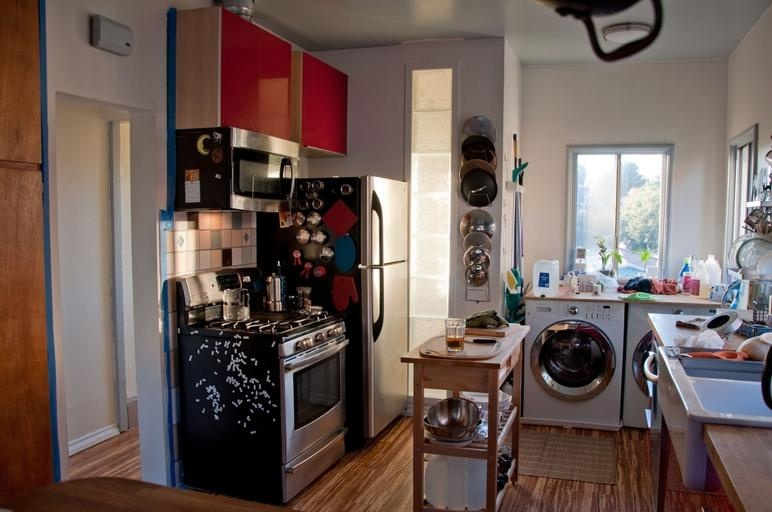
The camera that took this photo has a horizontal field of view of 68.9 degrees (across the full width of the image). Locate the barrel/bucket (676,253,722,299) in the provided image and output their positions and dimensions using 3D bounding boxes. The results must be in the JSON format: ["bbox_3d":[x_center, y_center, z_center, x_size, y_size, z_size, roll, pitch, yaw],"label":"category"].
[{"bbox_3d":[2.832,0.182,5.091,0.377,0.359,0.324,1,4,42],"label":"barrel/bucket"}]

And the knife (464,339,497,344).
[{"bbox_3d":[0.619,0.554,3.645,0.224,0.024,0.044,0,9,4],"label":"knife"}]

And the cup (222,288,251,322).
[{"bbox_3d":[-1.102,0.370,4.178,0.229,0.221,0.173,1,-1,4],"label":"cup"}]

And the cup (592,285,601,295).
[{"bbox_3d":[1.902,0.309,5.086,0.080,0.087,0.077,-2,-1,0],"label":"cup"}]

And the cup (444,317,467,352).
[{"bbox_3d":[0.431,0.489,3.504,0.114,0.199,0.153,-1,3,4],"label":"cup"}]

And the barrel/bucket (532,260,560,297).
[{"bbox_3d":[1.461,0.204,5.118,0.288,0.309,0.231,-2,3,-3],"label":"barrel/bucket"}]
